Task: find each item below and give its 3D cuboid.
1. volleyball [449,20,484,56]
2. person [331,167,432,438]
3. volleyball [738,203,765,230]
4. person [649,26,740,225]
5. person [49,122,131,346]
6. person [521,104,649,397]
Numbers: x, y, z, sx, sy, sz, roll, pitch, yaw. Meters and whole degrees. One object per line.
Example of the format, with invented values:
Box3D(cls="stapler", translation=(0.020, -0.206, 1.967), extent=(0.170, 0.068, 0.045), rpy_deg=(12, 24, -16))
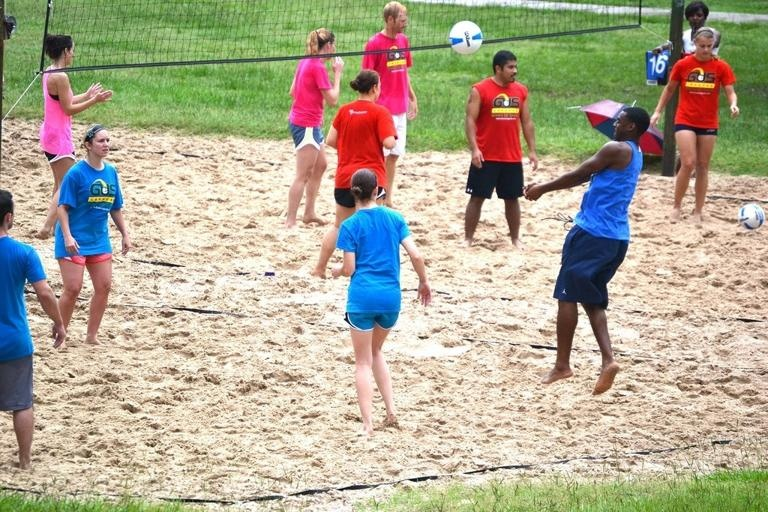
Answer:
Box3D(cls="volleyball", translation=(1.081, -2.885, 17.634), extent=(0.455, 0.422, 0.440), rpy_deg=(-4, -15, 3))
Box3D(cls="person", translation=(-0.080, 0.479, 14.406), extent=(0.967, 2.773, 0.655), rpy_deg=(2, 14, -3))
Box3D(cls="volleyball", translation=(4.527, -0.492, 16.638), extent=(0.278, 0.321, 0.405), rpy_deg=(7, 14, 19))
Box3D(cls="person", translation=(4.129, -1.736, 17.890), extent=(1.028, 2.561, 0.525), rpy_deg=(5, 14, 10))
Box3D(cls="person", translation=(-3.316, -0.246, 15.311), extent=(0.813, 2.492, 0.470), rpy_deg=(-3, 15, -19))
Box3D(cls="person", translation=(2.254, -0.044, 14.685), extent=(1.161, 3.123, 0.912), rpy_deg=(0, 14, -11))
